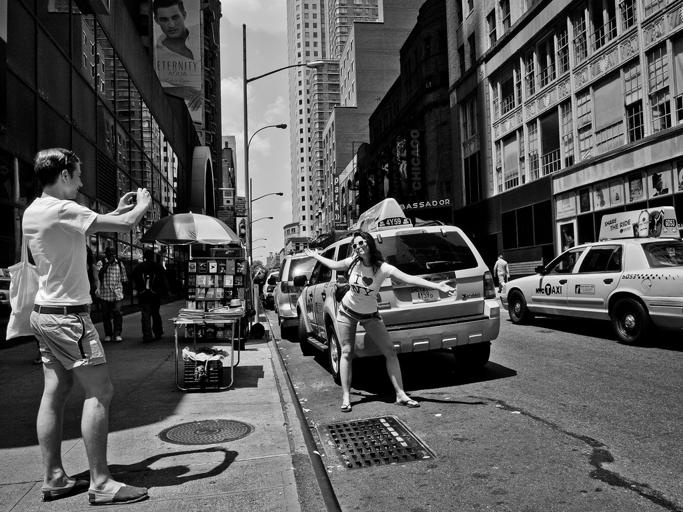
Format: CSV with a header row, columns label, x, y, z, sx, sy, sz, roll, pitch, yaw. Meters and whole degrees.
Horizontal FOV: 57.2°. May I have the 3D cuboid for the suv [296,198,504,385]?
label,x,y,z,sx,sy,sz,roll,pitch,yaw
suv,0.754,0.478,11.070,2.162,2.470,3.828,-1,1,-15

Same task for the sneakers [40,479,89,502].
label,x,y,z,sx,sy,sz,roll,pitch,yaw
sneakers,-2.848,2.403,6.427,0.430,0.157,0.175,-5,7,-39

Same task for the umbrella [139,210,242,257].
label,x,y,z,sx,sy,sz,roll,pitch,yaw
umbrella,-4.645,-0.604,18.622,2.151,0.932,2.409,0,-4,4

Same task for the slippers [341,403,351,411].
label,x,y,z,sx,sy,sz,roll,pitch,yaw
slippers,0.066,2.091,8.645,0.149,0.078,0.111,-3,-2,-9

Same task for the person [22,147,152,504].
label,x,y,z,sx,sy,sz,roll,pitch,yaw
person,-2.750,0.683,6.488,1.209,3.688,0.356,-3,-1,8

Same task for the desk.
label,x,y,z,sx,sy,sz,roll,pitch,yaw
desk,-2.204,1.497,10.366,0.919,1.163,2.143,0,-3,-8

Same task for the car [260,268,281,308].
label,x,y,z,sx,sy,sz,roll,pitch,yaw
car,-3.226,1.588,27.773,1.121,1.344,2.530,-1,2,-5

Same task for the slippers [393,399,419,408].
label,x,y,z,sx,sy,sz,roll,pitch,yaw
slippers,0.919,2.033,8.690,0.231,0.081,0.122,-4,-2,27
